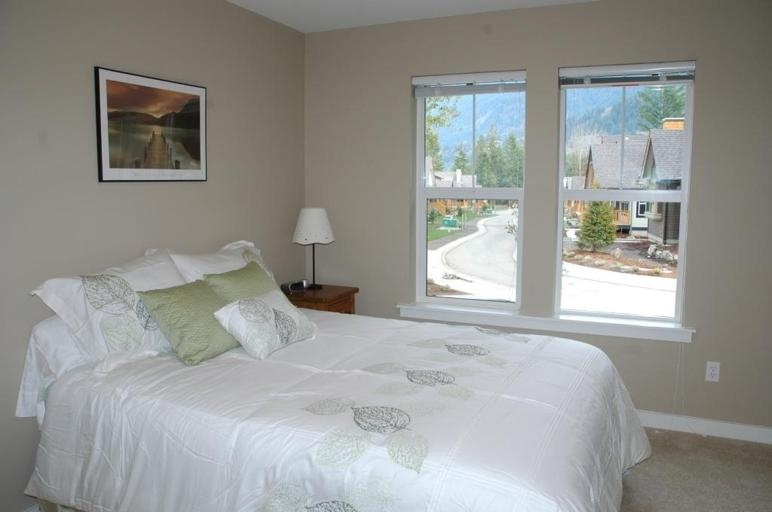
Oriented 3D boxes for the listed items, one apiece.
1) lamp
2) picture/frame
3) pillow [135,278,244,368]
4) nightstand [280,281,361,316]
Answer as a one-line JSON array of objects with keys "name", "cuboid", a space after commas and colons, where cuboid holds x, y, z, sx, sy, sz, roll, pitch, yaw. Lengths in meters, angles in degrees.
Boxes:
[{"name": "lamp", "cuboid": [-0.653, -0.075, 4.927, 0.366, 0.737, 0.475, -1, 10, -6]}, {"name": "picture/frame", "cuboid": [-1.689, -0.930, 3.772, 0.021, 0.712, 0.919, 6, 7, 29]}, {"name": "pillow", "cuboid": [-1.263, 0.349, 3.524, 0.588, 0.130, 0.532, 38, 42, 26]}, {"name": "nightstand", "cuboid": [-0.591, 0.274, 4.744, 0.381, 0.381, 0.389, 2, 9, 24]}]
